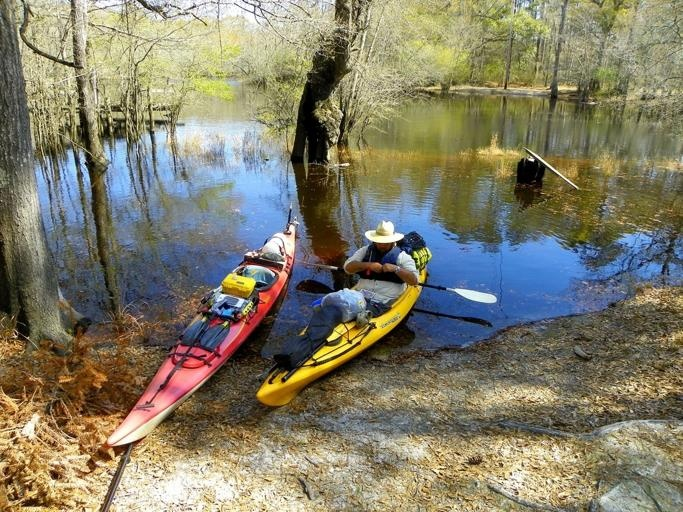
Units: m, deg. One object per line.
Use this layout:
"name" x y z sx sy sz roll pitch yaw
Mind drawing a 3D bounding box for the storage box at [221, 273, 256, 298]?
"storage box" -1.787 0.474 9.035 0.498 0.207 0.344 12 35 16

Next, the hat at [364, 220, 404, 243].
"hat" 0.901 -0.491 10.710 0.652 0.253 0.684 2 20 4

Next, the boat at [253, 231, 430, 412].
"boat" -0.058 1.006 9.176 1.499 1.424 4.086 6 30 41

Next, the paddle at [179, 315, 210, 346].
"paddle" -2.362 1.133 8.368 0.219 0.159 0.619 9 34 9

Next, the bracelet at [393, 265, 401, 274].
"bracelet" 1.012 0.218 9.288 0.086 0.039 0.110 9 32 11
